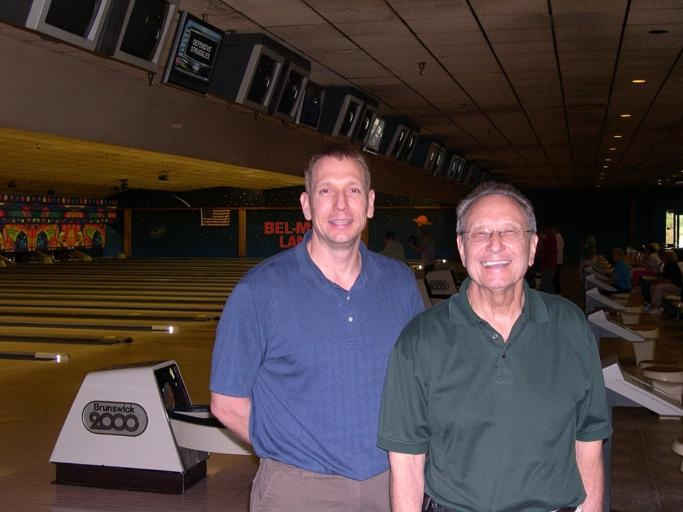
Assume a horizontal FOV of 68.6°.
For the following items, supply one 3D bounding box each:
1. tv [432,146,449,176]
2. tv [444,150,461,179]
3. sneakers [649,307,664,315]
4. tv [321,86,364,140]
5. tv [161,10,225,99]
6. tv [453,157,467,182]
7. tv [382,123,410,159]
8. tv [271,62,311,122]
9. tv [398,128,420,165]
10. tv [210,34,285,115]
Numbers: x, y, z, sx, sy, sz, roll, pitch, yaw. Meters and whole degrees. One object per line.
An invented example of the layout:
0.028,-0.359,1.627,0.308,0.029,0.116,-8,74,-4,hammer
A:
2.314,-2.200,11.615,0.150,0.547,0.601,20,11,31,tv
2.830,-2.260,12.624,0.132,0.524,0.579,11,5,32,tv
5.612,0.995,8.808,0.307,0.132,0.104,0,2,2,sneakers
-0.010,-2.175,7.603,0.421,0.783,0.812,17,14,13,tv
-1.309,-1.863,4.628,0.583,0.584,0.070,29,17,25,tv
3.029,-2.255,13.138,0.154,0.652,0.492,12,8,41,tv
1.030,-2.102,9.183,0.131,0.505,0.549,28,10,21,tv
-0.622,-1.984,5.997,0.167,0.709,0.639,29,38,25,tv
1.301,-2.101,9.655,0.135,0.569,0.406,28,12,28,tv
-1.054,-2.096,5.697,0.476,0.737,0.905,20,13,9,tv
